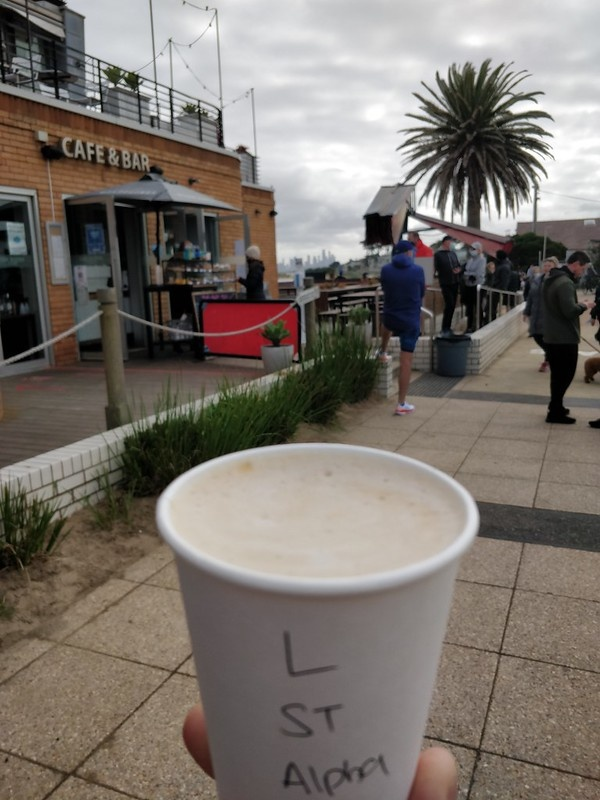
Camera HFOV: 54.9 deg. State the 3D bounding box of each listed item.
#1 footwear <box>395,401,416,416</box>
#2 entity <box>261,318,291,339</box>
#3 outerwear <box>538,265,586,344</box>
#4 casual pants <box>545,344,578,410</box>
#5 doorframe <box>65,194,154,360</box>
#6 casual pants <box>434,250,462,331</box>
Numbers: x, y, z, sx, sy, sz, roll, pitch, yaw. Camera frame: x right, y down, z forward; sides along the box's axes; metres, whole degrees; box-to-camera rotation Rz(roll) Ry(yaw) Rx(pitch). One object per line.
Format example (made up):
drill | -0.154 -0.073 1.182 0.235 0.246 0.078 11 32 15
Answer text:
footwear | 1.282 0.122 7.124 0.270 0.126 0.106 -16 18 -36
entity | -0.305 -0.888 7.736 0.389 0.332 0.359 -7 0 -39
outerwear | 3.048 -1.084 6.665 0.462 0.912 0.624 3 12 22
casual pants | 3.000 -0.237 6.690 0.321 0.805 0.285 3 12 22
doorframe | -3.326 -2.101 10.100 1.133 2.639 2.299 -3 11 -10
casual pants | 3.046 -2.245 11.734 0.578 1.703 0.486 -8 6 -42
